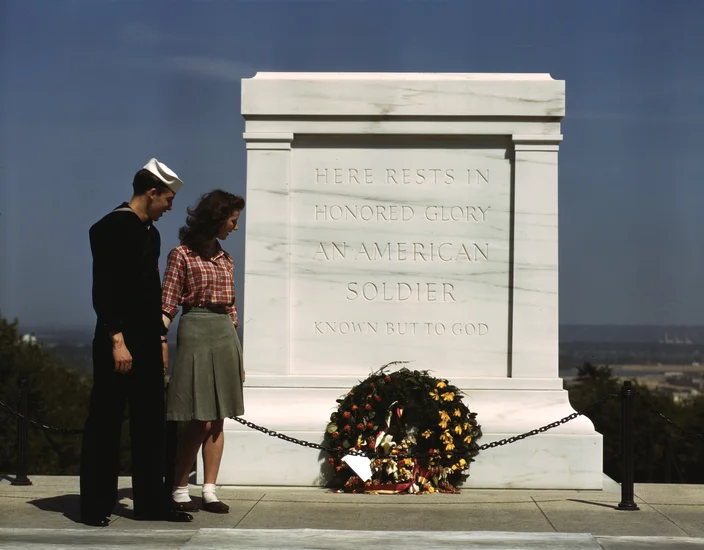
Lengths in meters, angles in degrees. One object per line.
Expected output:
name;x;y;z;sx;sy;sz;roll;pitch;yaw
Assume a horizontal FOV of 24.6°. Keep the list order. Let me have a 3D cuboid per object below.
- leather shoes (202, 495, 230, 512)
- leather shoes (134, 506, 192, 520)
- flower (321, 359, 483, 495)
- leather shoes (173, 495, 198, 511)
leather shoes;-1.472;2.484;17.475;0.322;0.087;0.118;0;-2;23
leather shoes;-1.980;2.520;17.171;0.646;0.216;0.203;-1;-6;2
flower;0.596;1.775;18.506;1.796;1.394;0.460;0;-5;0
leather shoes;-1.795;2.461;17.365;0.243;0.089;0.121;-2;-1;22
